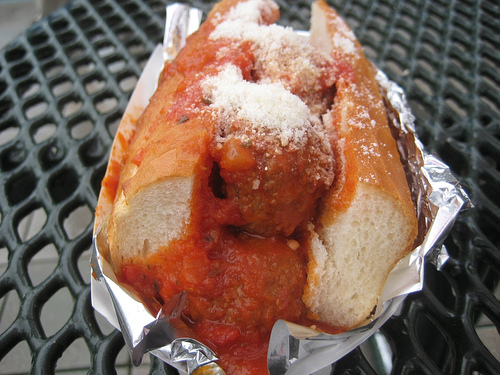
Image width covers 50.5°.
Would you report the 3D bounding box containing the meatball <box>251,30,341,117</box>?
[{"bbox_3d":[0.147,-0.386,1.668,0.228,0.117,0.302,14,45,-25],"label":"meatball"}]
